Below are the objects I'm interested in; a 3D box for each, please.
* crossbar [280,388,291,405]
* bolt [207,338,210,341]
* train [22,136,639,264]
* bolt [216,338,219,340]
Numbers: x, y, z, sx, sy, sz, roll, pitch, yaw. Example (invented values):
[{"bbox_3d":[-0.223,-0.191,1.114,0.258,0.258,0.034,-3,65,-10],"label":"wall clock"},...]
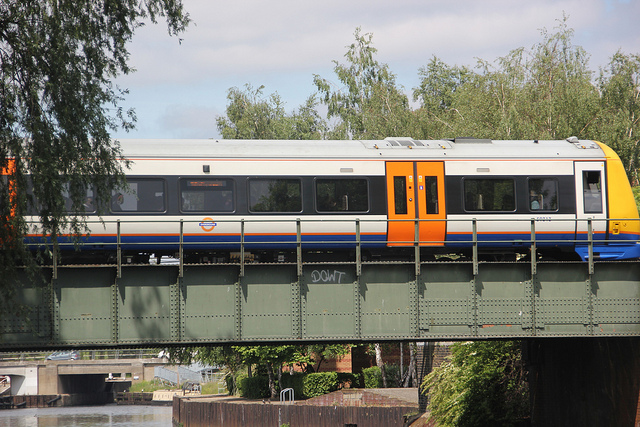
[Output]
[{"bbox_3d":[-2.119,11.088,77.121,0.377,0.907,0.981,-8,-12,28],"label":"crossbar"},{"bbox_3d":[-4.724,5.397,54.376,0.080,0.050,0.055,5,23,-4],"label":"bolt"},{"bbox_3d":[-0.209,-0.356,57.045,29.509,6.536,4.950,-1,0,-5],"label":"train"},{"bbox_3d":[-4.366,5.378,54.407,0.081,0.077,0.042,-1,15,-1],"label":"bolt"}]
